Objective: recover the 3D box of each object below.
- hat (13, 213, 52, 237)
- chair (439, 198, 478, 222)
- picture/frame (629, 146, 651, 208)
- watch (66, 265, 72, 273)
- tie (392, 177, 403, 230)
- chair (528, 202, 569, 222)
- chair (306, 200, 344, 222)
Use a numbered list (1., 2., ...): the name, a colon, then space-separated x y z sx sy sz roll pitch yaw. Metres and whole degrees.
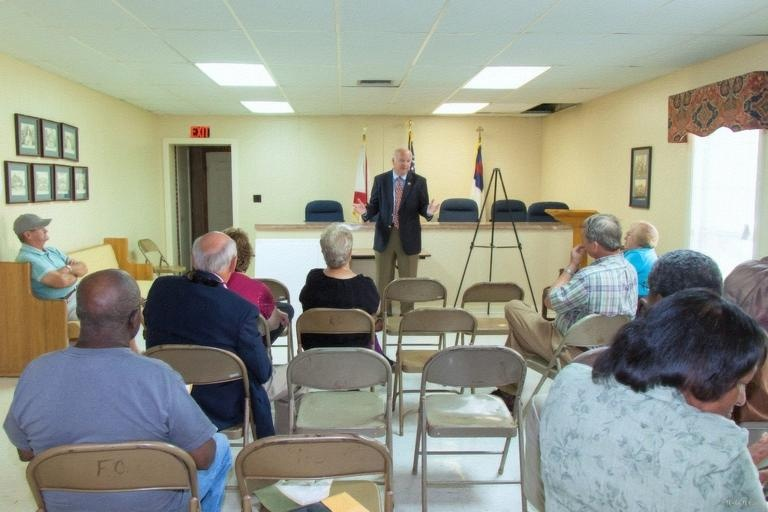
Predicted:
1. hat: -3.086 -0.271 5.381 0.283 0.167 0.182 -23 14 -21
2. chair: 1.036 -0.628 8.633 0.380 0.477 0.409 0 6 0
3. picture/frame: 3.018 -0.910 7.203 0.028 0.682 0.528 7 12 44
4. watch: -2.791 0.119 5.392 0.062 0.058 0.021 5 -18 -30
5. tie: 0.148 -0.526 6.025 0.113 0.493 0.108 4 9 35
6. chair: 2.252 -0.619 8.478 0.511 0.359 0.472 1 13 4
7. chair: -0.839 -0.612 8.535 0.383 0.481 0.407 -1 8 -8
